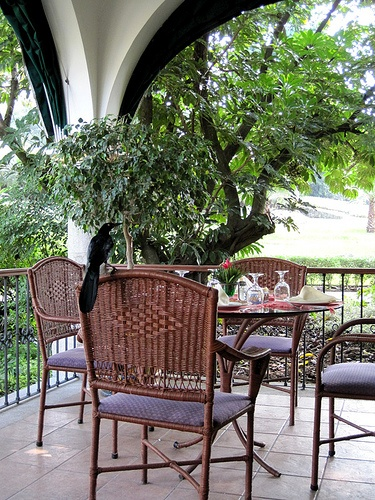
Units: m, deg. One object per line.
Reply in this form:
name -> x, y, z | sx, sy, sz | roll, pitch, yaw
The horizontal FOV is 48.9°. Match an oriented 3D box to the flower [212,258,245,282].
flower -> 0.204, 0.102, 2.043 | 0.118, 0.112, 0.116 | 2, -3, -35

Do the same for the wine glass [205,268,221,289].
wine glass -> 0.132, 0.154, 2.083 | 0.066, 0.102, 0.092 | 3, 4, 10

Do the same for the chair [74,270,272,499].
chair -> -0.060, 0.487, 1.374 | 0.505, 0.877, 0.449 | 1, 4, 27

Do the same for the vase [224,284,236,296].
vase -> 0.201, 0.195, 1.972 | 0.054, 0.047, 0.056 | 0, -2, -27
